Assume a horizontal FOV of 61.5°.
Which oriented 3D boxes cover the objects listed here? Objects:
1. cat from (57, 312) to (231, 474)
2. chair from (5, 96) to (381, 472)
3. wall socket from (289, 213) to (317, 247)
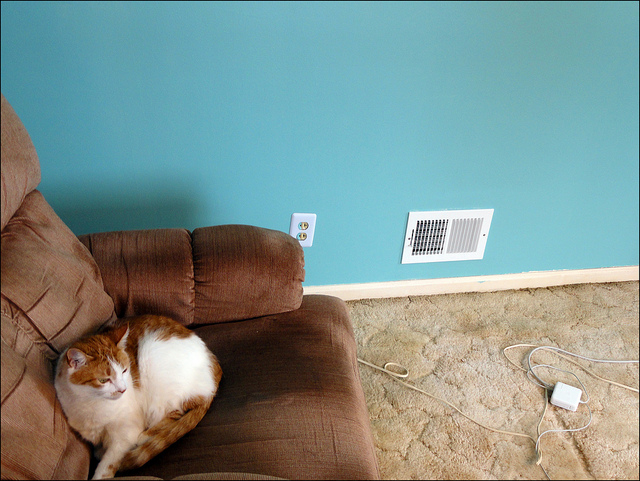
[{"bbox_3d":[-0.470,0.405,1.488,0.316,0.175,0.413,36,39,16],"label":"cat"},{"bbox_3d":[-0.344,0.313,1.942,1.052,1.264,1.225,-5,44,-4],"label":"chair"},{"bbox_3d":[-0.071,-0.051,2.180,0.137,0.215,0.033,-1,34,-11],"label":"wall socket"}]
